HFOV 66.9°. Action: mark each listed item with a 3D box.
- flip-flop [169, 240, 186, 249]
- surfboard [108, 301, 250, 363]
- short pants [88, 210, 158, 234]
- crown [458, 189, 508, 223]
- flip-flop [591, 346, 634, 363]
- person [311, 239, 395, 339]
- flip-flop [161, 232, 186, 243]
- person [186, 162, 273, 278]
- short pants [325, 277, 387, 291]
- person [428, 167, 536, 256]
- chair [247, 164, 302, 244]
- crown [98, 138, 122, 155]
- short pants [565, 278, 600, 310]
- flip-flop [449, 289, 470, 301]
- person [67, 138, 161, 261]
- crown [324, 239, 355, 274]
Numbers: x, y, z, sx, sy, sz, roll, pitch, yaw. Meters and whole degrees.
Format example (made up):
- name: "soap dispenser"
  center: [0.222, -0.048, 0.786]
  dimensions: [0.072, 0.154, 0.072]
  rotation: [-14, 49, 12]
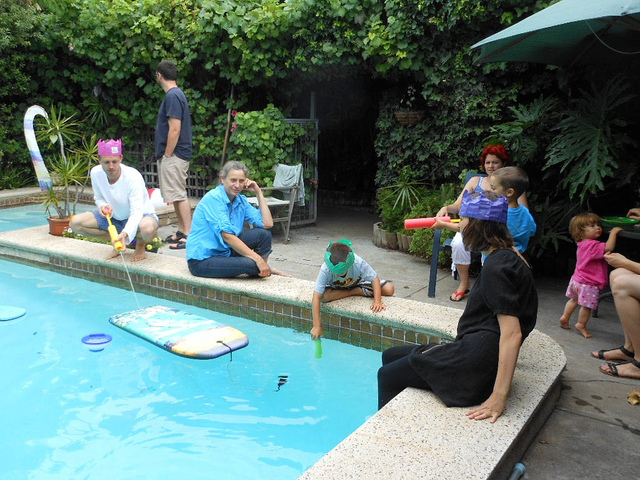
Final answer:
- name: "flip-flop"
  center: [-2.053, 0.065, 7.005]
  dimensions: [0.294, 0.108, 0.104]
  rotation: [-1, 3, -39]
- name: "surfboard"
  center: [-1.340, 0.834, 4.536]
  dimensions: [1.201, 0.111, 0.567]
  rotation: [13, 20, 38]
- name: "short pants"
  center: [-2.422, -0.222, 5.870]
  dimensions: [0.927, 0.305, 0.323]
  rotation: [8, 15, 31]
- name: "crown"
  center: [0.991, -0.191, 2.928]
  dimensions: [0.204, 0.110, 0.209]
  rotation: [16, 8, 25]
- name: "flip-flop"
  center: [2.450, 0.933, 4.025]
  dimensions: [0.268, 0.101, 0.100]
  rotation: [4, 7, 23]
- name: "person"
  center: [0.306, 0.338, 4.437]
  dimensions: [0.775, 0.826, 0.833]
  rotation: [-1, 53, 10]
- name: "flip-flop"
  center: [-2.145, -0.052, 7.256]
  dimensions: [0.439, 0.182, 0.152]
  rotation: [2, 6, 9]
- name: "person"
  center: [-0.986, -0.211, 5.277]
  dimensions: [0.956, 1.234, 0.827]
  rotation: [0, 11, 2]
- name: "short pants"
  center: [0.326, 0.401, 4.493]
  dimensions: [0.276, 0.083, 0.232]
  rotation: [10, -6, -24]
- name: "person"
  center: [1.433, -0.202, 4.251]
  dimensions: [0.800, 0.857, 0.504]
  rotation: [7, -11, 5]
- name: "chair"
  center: [-0.822, -0.605, 8.188]
  dimensions: [1.065, 1.251, 1.123]
  rotation: [6, 8, 44]
- name: "crown"
  center: [-2.286, -1.006, 5.295]
  dimensions: [0.211, 0.149, 0.216]
  rotation: [5, 8, 27]
- name: "short pants"
  center: [2.475, 0.501, 4.535]
  dimensions: [0.253, 0.230, 0.186]
  rotation: [7, 15, 26]
- name: "flip-flop"
  center: [1.560, 0.591, 5.298]
  dimensions: [0.290, 0.093, 0.110]
  rotation: [-6, 14, -25]
- name: "person"
  center: [-2.293, -0.467, 5.565]
  dimensions: [1.072, 1.351, 0.992]
  rotation: [17, 24, 35]
- name: "crown"
  center: [0.150, 0.066, 4.371]
  dimensions: [0.185, 0.252, 0.149]
  rotation: [-12, 12, 45]
